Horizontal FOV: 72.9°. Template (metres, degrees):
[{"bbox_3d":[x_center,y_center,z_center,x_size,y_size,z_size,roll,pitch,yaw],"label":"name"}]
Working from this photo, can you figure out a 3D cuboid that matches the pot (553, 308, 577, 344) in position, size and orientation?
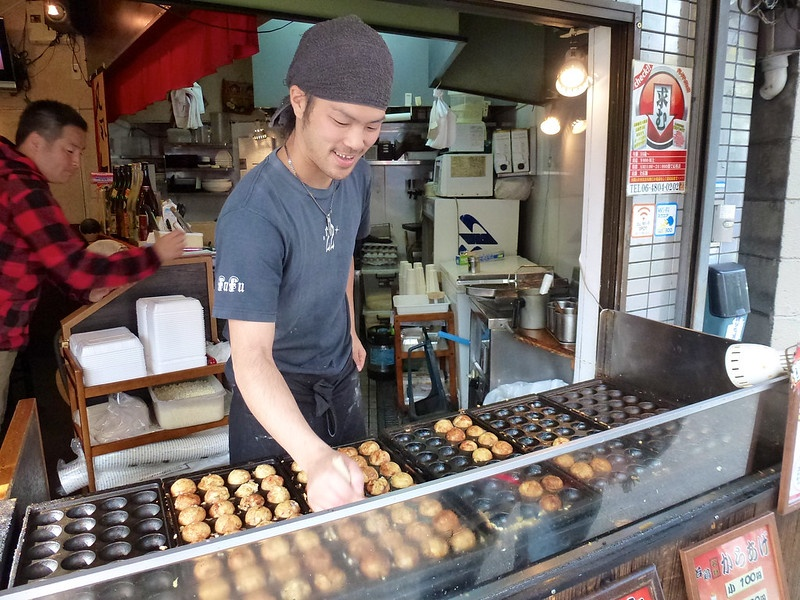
[{"bbox_3d":[1.034,0.179,3.560,0.169,0.180,0.213,0,-4,0],"label":"pot"}]

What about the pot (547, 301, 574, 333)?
[{"bbox_3d":[1.115,0.111,3.689,0.172,0.191,0.222,-12,14,-42],"label":"pot"}]

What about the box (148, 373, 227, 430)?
[{"bbox_3d":[-1.146,0.550,2.915,0.324,0.133,0.245,-9,19,-30],"label":"box"}]

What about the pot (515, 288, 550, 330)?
[{"bbox_3d":[0.933,0.064,3.882,0.314,0.266,0.197,-9,16,-21],"label":"pot"}]

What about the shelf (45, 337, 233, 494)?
[{"bbox_3d":[-1.266,0.563,2.702,0.862,0.785,0.487,-9,18,-24],"label":"shelf"}]
